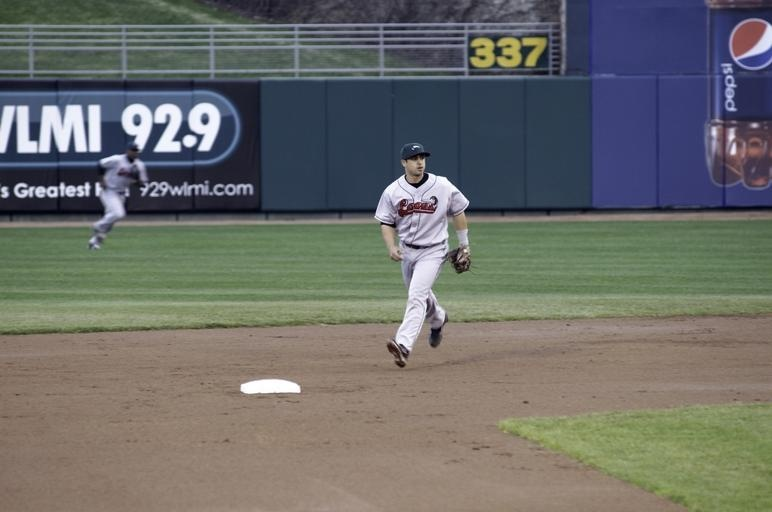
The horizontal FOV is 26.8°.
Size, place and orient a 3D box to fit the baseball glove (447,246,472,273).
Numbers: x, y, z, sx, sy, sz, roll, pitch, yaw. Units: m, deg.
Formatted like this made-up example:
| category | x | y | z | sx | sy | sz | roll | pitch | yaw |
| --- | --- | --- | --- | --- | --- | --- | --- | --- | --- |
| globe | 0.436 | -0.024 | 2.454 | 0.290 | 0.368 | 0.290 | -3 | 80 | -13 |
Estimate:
| category | x | y | z | sx | sy | sz | roll | pitch | yaw |
| --- | --- | --- | --- | --- | --- | --- | --- | --- | --- |
| baseball glove | 1.428 | 0.045 | 31.342 | 0.232 | 0.510 | 0.373 | -31 | -16 | -52 |

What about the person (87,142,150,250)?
| category | x | y | z | sx | sy | sz | roll | pitch | yaw |
| --- | --- | --- | --- | --- | --- | --- | --- | --- | --- |
| person | -6.435 | -1.432 | 38.984 | 0.922 | 2.460 | 1.446 | 4 | 7 | 44 |

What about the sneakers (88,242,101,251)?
| category | x | y | z | sx | sy | sz | roll | pitch | yaw |
| --- | --- | --- | --- | --- | --- | --- | --- | --- | --- |
| sneakers | -6.923 | -0.243 | 38.717 | 0.187 | 0.228 | 0.120 | -32 | -4 | 15 |
